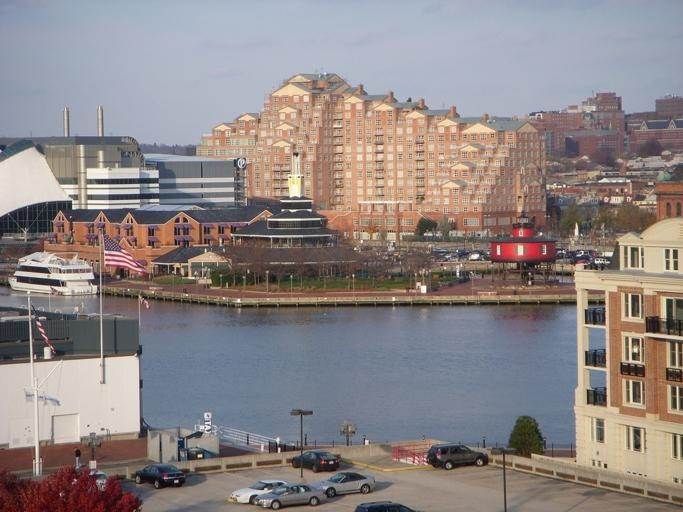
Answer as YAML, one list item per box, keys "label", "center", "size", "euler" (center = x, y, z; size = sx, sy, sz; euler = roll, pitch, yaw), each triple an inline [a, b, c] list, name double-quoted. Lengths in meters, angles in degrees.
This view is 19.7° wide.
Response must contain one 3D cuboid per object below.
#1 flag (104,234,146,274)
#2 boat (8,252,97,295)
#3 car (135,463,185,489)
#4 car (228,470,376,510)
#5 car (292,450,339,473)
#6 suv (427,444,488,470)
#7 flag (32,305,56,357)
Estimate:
- label: "flag"
  center: [-17.402, 0.122, 162.458]
  size: [3.935, 4.120, 0.334]
  euler: [0, -1, 20]
- label: "boat"
  center: [-27.134, 2.077, 189.062]
  size: [8.319, 4.343, 3.746]
  euler: [-3, -3, 26]
- label: "car"
  center: [-10.113, 12.787, 111.008]
  size: [2.549, 0.882, 1.187]
  euler: [7, 6, 41]
- label: "car"
  center: [-2.014, 13.359, 108.902]
  size: [7.369, 1.660, 1.687]
  euler: [-1, -3, -18]
- label: "car"
  center: [-1.496, 12.118, 113.321]
  size: [2.441, 0.839, 1.137]
  euler: [7, 6, 40]
- label: "suv"
  center: [6.575, 12.045, 113.790]
  size: [2.661, 1.180, 1.556]
  euler: [-5, 8, -16]
- label: "flag"
  center: [-17.507, 5.001, 118.396]
  size: [1.250, 2.519, 3.635]
  euler: [-1, -3, -9]
